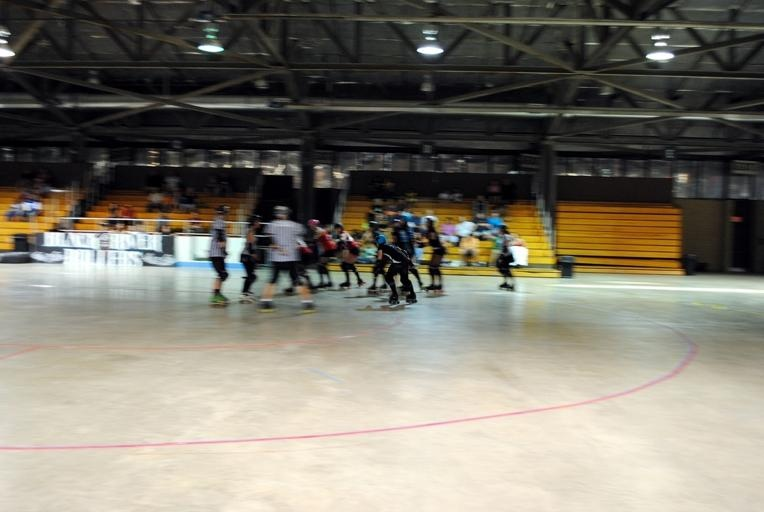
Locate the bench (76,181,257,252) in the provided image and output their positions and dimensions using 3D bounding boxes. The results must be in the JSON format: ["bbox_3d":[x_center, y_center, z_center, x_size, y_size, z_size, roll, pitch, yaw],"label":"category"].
[{"bbox_3d":[-9.525,-2.048,31.204,10.361,2.486,1.840,1,-37,0],"label":"bench"}]
